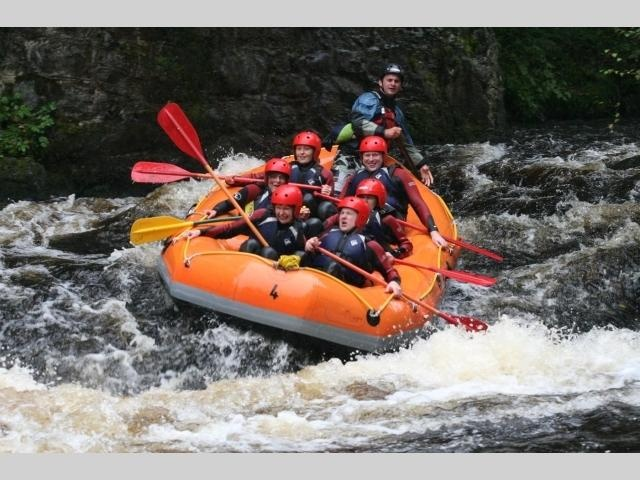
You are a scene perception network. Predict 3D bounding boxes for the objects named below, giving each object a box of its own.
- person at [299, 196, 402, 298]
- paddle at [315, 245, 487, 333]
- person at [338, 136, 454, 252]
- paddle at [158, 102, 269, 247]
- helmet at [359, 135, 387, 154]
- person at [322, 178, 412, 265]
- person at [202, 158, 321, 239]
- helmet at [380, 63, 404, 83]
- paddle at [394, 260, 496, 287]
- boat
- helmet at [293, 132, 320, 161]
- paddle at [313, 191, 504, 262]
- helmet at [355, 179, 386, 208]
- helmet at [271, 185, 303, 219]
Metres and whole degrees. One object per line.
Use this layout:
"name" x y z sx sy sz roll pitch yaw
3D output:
"person" 0.309 0.094 7.213 0.991 0.405 0.980 22 26 -1
"paddle" 0.684 0.455 7.217 1.954 0.092 0.223 20 60 -2
"person" 0.756 -0.437 8.117 1.915 0.870 0.534 2 11 37
"paddle" -1.123 -0.649 8.307 0.322 1.967 0.081 -1 55 23
"helmet" 0.528 -0.967 7.936 0.205 0.206 0.164 3 41 10
"person" 0.526 -0.154 7.311 0.779 0.344 0.944 6 10 14
"person" -0.598 -0.440 7.704 0.937 0.351 1.032 7 17 12
"helmet" 0.790 -1.815 8.571 0.189 0.175 0.106 7 10 0
"paddle" 1.188 0.330 7.639 1.003 0.085 0.060 13 15 4
"boat" 0.138 -0.053 7.365 1.777 0.575 1.989 14 23 12
"helmet" -0.172 -1.010 8.236 0.295 0.223 0.321 0 7 17
"paddle" 0.849 -0.113 7.942 2.286 0.102 0.205 17 9 -4
"helmet" 0.503 -0.471 7.583 0.284 0.224 0.306 11 33 26
"helmet" -0.294 -0.382 7.143 0.274 0.223 0.321 2 3 21
